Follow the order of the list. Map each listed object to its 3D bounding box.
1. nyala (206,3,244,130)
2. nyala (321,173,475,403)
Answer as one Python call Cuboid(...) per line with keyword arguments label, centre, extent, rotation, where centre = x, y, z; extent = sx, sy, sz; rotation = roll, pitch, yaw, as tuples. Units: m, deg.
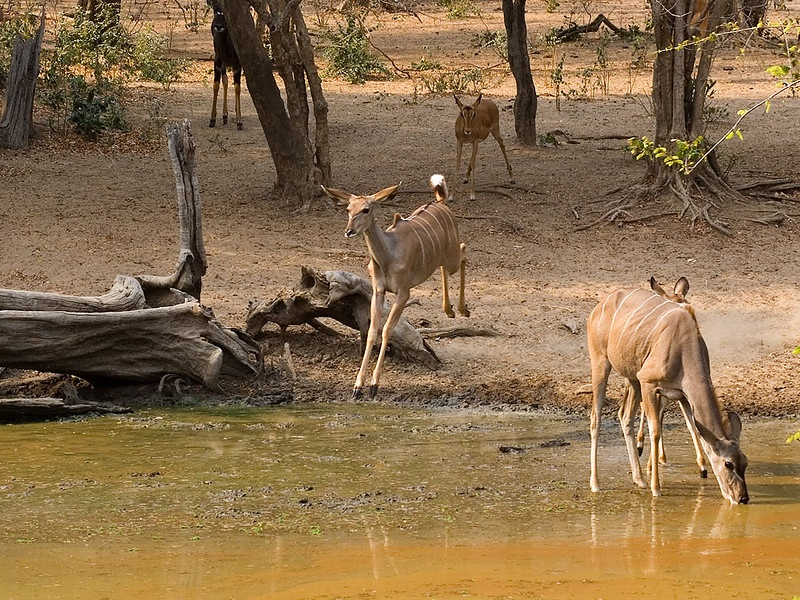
Cuboid(label="nyala", centre=(-3.664, -4.734, 24.136), extent=(0.701, 2.647, 2.929), rotation=(-2, 8, -8))
Cuboid(label="nyala", centre=(0.062, -0.146, 13.814), extent=(1.083, 2.485, 2.423), rotation=(2, 8, 19))
